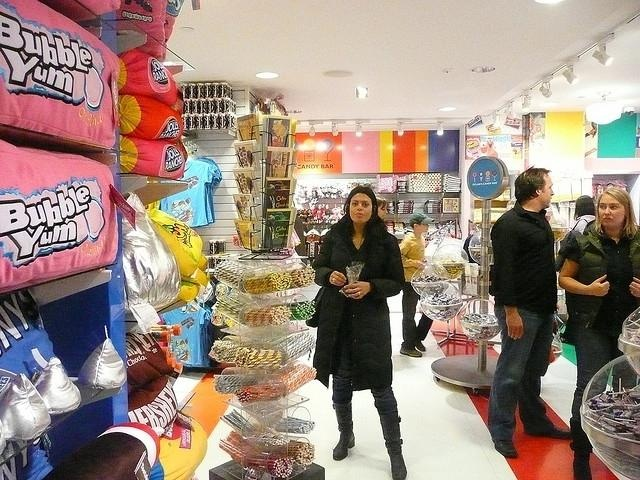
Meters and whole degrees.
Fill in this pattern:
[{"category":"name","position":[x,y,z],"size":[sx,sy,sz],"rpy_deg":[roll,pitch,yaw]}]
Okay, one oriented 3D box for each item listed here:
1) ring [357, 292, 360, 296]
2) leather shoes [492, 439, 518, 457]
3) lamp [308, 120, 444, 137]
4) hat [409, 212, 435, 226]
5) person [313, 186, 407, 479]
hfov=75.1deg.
[{"category":"ring","position":[0.240,0.337,2.594],"size":[0.016,0.015,0.016],"rpy_deg":[-2,2,0]},{"category":"leather shoes","position":[1.328,1.489,2.988],"size":[0.155,0.087,0.095],"rpy_deg":[2,5,25]},{"category":"lamp","position":[1.034,-2.278,8.649],"size":[3.020,0.310,1.086],"rpy_deg":[0,5,4]},{"category":"hat","position":[1.253,-0.260,5.067],"size":[0.316,0.151,0.198],"rpy_deg":[-3,7,3]},{"category":"person","position":[0.256,0.596,2.827],"size":[0.671,1.918,0.427],"rpy_deg":[-1,4,-2]}]
